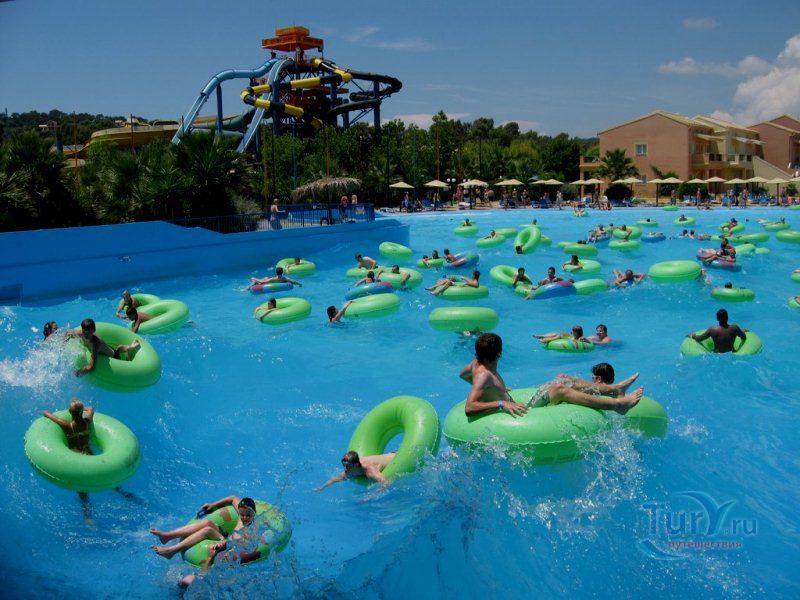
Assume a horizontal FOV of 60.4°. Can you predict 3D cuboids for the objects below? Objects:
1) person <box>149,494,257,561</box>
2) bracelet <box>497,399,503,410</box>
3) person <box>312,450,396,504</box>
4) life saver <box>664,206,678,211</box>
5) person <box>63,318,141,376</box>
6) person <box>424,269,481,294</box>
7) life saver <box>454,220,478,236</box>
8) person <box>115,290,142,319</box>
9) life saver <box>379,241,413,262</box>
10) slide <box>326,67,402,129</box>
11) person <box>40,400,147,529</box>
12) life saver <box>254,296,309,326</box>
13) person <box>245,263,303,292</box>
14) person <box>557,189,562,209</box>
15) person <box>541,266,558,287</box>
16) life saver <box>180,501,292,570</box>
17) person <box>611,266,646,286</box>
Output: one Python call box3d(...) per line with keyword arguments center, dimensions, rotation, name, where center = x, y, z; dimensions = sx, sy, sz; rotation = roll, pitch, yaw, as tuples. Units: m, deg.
box3d(center=(-2.350, 2.762, 8.350), dimensions=(1.089, 0.353, 0.711), rotation=(-20, 18, -21), name="person")
box3d(center=(1.262, 1.316, 8.612), dimensions=(0.071, 0.109, 0.038), rotation=(0, 3, 7), name="bracelet")
box3d(center=(-0.458, 2.204, 9.046), dimensions=(0.551, 0.329, 0.797), rotation=(-5, 7, 33), name="person")
box3d(center=(15.469, -5.186, 39.126), dimensions=(0.869, 0.258, 0.622), rotation=(13, 18, 36), name="life saver")
box3d(center=(-4.935, 0.523, 11.087), dimensions=(0.921, 0.245, 0.929), rotation=(51, 15, 18), name="person")
box3d(center=(1.461, -0.424, 18.183), dimensions=(0.919, 0.406, 0.837), rotation=(-19, 1, 6), name="person")
box3d(center=(3.137, -3.337, 32.224), dimensions=(1.005, 0.451, 1.066), rotation=(-1, 20, 13), name="life saver")
box3d(center=(-6.433, 0.131, 16.199), dimensions=(0.302, 0.767, 0.574), rotation=(7, 39, 8), name="person")
box3d(center=(-0.233, -1.734, 24.685), dimensions=(0.774, 0.315, 0.809), rotation=(22, 20, 32), name="life saver")
box3d(center=(-2.320, -13.441, 46.185), dimensions=(2.549, 3.269, 3.311), rotation=(35, 34, 24), name="slide")
box3d(center=(-4.634, 2.315, 9.821), dimensions=(0.369, 1.416, 1.368), rotation=(-30, 49, -5), name="person")
box3d(center=(-2.855, 0.261, 16.716), dimensions=(1.307, 0.568, 0.747), rotation=(-1, 14, -15), name="life saver")
box3d(center=(-3.707, -0.579, 19.769), dimensions=(1.343, 0.683, 0.787), rotation=(-2, 14, -16), name="person")
box3d(center=(10.513, -6.503, 44.832), dimensions=(0.336, 0.920, 1.472), rotation=(5, 14, 13), name="person")
box3d(center=(4.514, -0.683, 20.571), dimensions=(0.769, 0.639, 0.397), rotation=(-2, -7, 12), name="person")
box3d(center=(-1.943, 2.792, 8.375), dimensions=(0.738, 0.215, 0.780), rotation=(-7, 9, 37), name="life saver")
box3d(center=(6.660, -0.652, 19.994), dimensions=(1.077, 0.488, 0.621), rotation=(-4, 15, -25), name="person")
